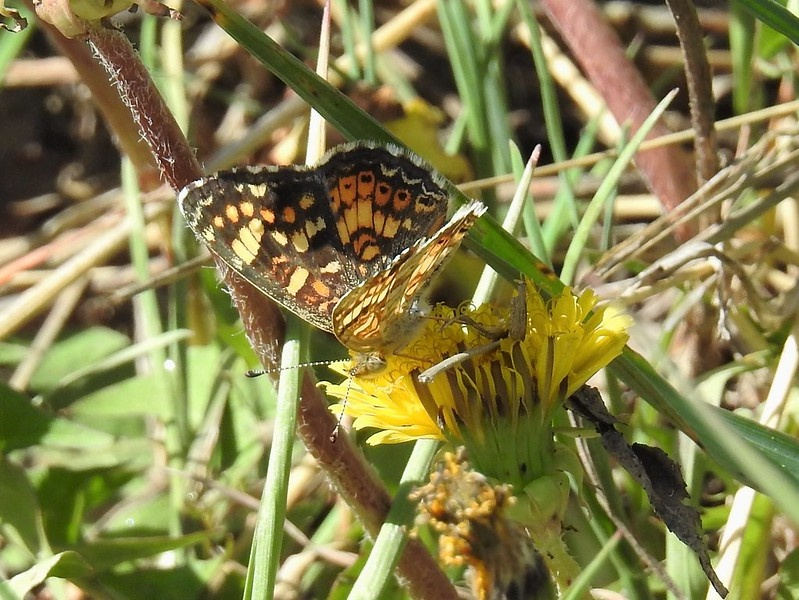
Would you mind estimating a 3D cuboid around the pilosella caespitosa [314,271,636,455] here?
[{"bbox_3d":[0.149,0.118,1.598,0.511,0.205,0.234,-19,83,-5],"label":"pilosella caespitosa"}]
